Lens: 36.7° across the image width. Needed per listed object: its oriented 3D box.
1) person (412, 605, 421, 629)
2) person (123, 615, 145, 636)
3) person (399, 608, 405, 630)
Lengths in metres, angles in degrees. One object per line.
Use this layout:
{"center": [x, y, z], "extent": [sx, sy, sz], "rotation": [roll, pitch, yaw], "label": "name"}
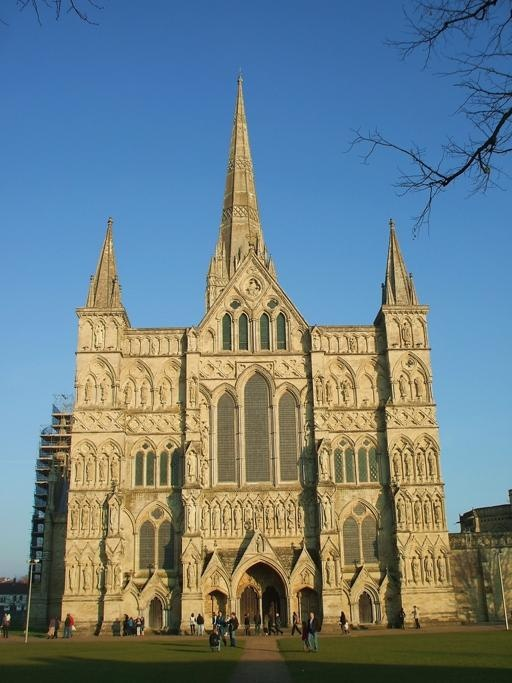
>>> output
{"center": [9.242, 15.987, 44.662], "extent": [0.413, 1.169, 1.817], "rotation": [-6, -19, 10], "label": "person"}
{"center": [-6.924, 16.179, 43.744], "extent": [1.005, 0.934, 0.510], "rotation": [2, -29, -3], "label": "person"}
{"center": [8.422, 16.053, 44.645], "extent": [0.347, 1.072, 1.296], "rotation": [-6, -20, 8], "label": "person"}
